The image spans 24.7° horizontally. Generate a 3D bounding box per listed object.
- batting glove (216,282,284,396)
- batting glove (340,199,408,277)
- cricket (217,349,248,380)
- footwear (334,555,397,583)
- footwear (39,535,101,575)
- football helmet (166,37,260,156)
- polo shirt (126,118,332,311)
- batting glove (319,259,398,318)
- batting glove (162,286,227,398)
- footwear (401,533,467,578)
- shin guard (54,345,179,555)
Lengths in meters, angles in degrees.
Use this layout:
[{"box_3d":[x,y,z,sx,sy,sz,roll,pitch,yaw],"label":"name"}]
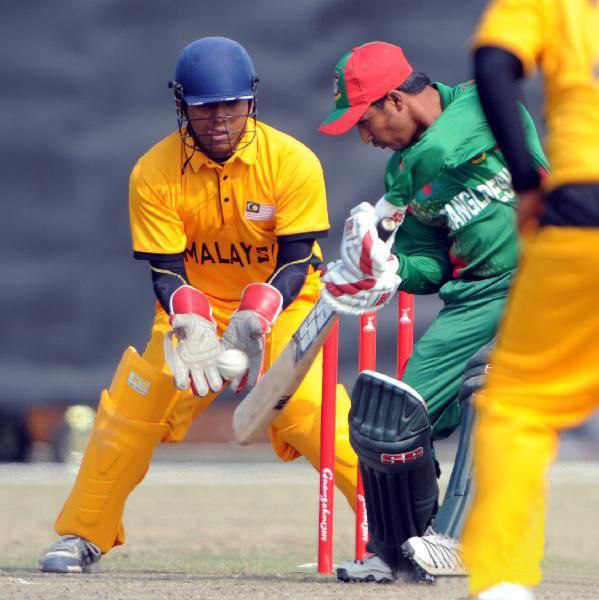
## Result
[{"box_3d":[-0.150,0.114,3.927,0.192,0.298,0.093,30,5,29],"label":"batting glove"},{"box_3d":[0.184,-0.172,3.428,0.108,0.202,0.162,6,-21,0],"label":"batting glove"},{"box_3d":[-0.187,0.179,3.875,0.088,0.068,0.077,4,7,-21],"label":"cricket"},{"box_3d":[0.170,0.689,3.498,0.147,0.071,0.060,6,-13,-3],"label":"footwear"},{"box_3d":[-0.641,0.733,3.838,0.158,0.100,0.213,2,8,-3],"label":"footwear"},{"box_3d":[-0.259,-0.607,4.032,0.273,0.351,0.327,-2,27,-6],"label":"football helmet"},{"box_3d":[-0.210,-0.243,4.092,0.576,0.527,0.306,-3,19,0],"label":"polo shirt"},{"box_3d":[0.157,-0.037,3.505,0.185,0.123,0.260,22,11,34],"label":"batting glove"},{"box_3d":[-0.299,0.121,3.901,0.159,0.315,0.175,-1,9,-21],"label":"batting glove"},{"box_3d":[0.330,0.616,3.326,0.126,0.095,0.045,14,-21,-8],"label":"footwear"},{"box_3d":[-0.519,0.434,3.944,0.349,0.576,0.137,1,8,-11],"label":"shin guard"}]
